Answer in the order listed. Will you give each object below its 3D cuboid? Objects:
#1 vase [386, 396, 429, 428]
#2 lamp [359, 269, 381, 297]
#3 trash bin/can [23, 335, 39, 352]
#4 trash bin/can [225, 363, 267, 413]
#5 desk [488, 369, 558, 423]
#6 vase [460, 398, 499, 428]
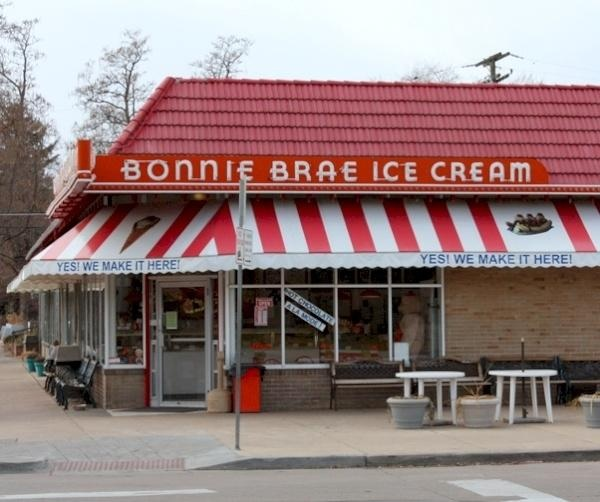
[{"bbox_3d":[1.902,2.865,17.404,0.606,0.363,0.617,-4,-6,31],"label":"vase"},{"bbox_3d":[1.442,0.705,20.615,0.564,0.472,0.269,1,-7,-7],"label":"lamp"},{"bbox_3d":[-11.323,3.918,41.428,0.608,0.853,0.959,-3,14,-16],"label":"trash bin/can"},{"bbox_3d":[-1.152,2.741,19.929,0.837,0.838,0.823,-7,-6,25],"label":"trash bin/can"},{"bbox_3d":[4.576,2.686,18.676,1.281,0.919,1.245,10,-1,-10],"label":"desk"},{"bbox_3d":[3.265,2.870,17.708,0.583,0.379,0.599,-2,-24,23],"label":"vase"}]
